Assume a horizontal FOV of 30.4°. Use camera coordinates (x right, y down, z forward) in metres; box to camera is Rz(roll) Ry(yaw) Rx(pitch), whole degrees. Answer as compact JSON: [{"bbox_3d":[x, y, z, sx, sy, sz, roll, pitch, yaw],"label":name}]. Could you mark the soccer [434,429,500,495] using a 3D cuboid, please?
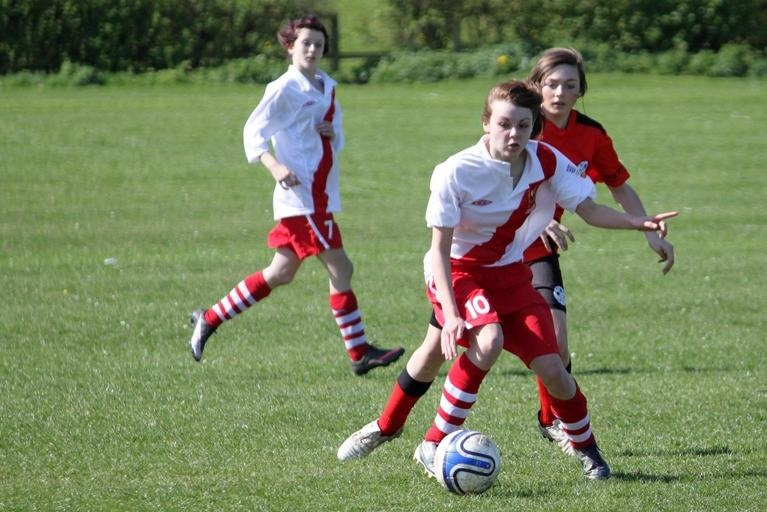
[{"bbox_3d":[1.130,2.743,18.826,0.821,0.793,0.794,4,-5,6],"label":"soccer"}]
